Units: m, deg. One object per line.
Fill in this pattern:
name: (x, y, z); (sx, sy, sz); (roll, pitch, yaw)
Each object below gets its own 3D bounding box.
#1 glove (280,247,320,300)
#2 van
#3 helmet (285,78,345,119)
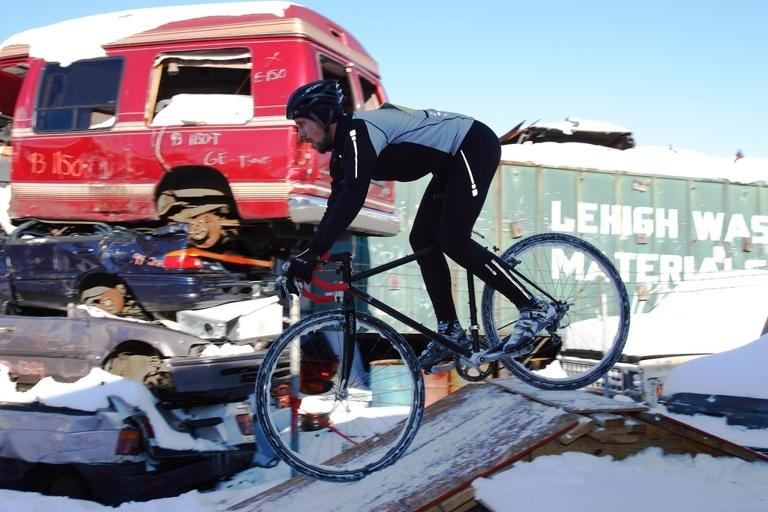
glove: (-0.767, 0.149, 6.028); (0.332, 0.394, 0.174); (4, -1, -6)
van: (-2.283, -1.840, 9.159); (6.845, 1.712, 3.214); (4, 7, 19)
helmet: (-0.579, -1.549, 6.333); (0.649, 0.227, 0.358); (-11, 17, 8)
